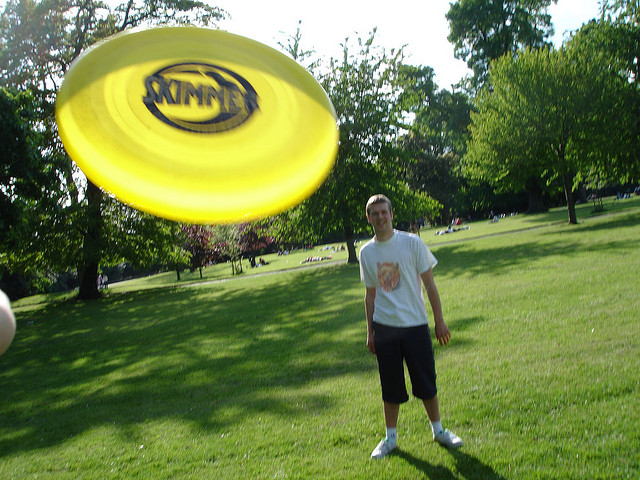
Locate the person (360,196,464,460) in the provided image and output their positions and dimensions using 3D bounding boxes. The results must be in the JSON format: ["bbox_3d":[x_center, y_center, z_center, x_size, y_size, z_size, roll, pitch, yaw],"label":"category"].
[{"bbox_3d":[1.041,1.035,6.588,0.997,3.123,0.552,-4,8,7],"label":"person"}]
